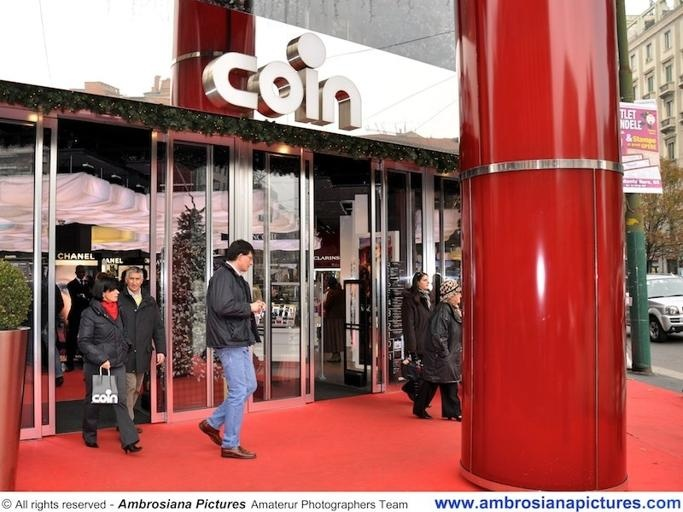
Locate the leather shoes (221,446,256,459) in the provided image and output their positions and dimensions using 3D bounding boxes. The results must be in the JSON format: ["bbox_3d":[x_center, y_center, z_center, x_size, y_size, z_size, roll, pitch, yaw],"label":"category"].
[{"bbox_3d":[-1.136,2.157,6.643,0.316,0.150,0.151,-2,-5,0],"label":"leather shoes"}]

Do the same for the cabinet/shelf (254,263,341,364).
[{"bbox_3d":[-0.781,1.220,12.874,1.051,2.253,1.482,0,0,6],"label":"cabinet/shelf"}]

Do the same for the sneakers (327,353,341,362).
[{"bbox_3d":[-0.149,2.282,13.621,0.266,0.307,0.186,0,6,-3],"label":"sneakers"}]

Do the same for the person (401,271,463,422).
[{"bbox_3d":[1.316,1.293,8.279,0.739,1.902,0.528,-4,-4,25],"label":"person"}]

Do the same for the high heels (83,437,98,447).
[{"bbox_3d":[-2.918,2.143,7.064,0.209,0.103,0.078,2,0,37],"label":"high heels"}]

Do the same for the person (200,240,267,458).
[{"bbox_3d":[-1.166,1.019,6.659,0.588,2.381,0.358,-1,-3,-16],"label":"person"}]

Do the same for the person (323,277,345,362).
[{"bbox_3d":[-0.170,1.197,12.430,0.432,1.534,0.361,-2,-3,-3],"label":"person"}]

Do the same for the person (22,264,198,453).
[{"bbox_3d":[-2.605,1.187,7.128,0.862,2.079,1.061,-2,-3,-2],"label":"person"}]

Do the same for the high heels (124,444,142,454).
[{"bbox_3d":[-2.340,2.149,6.812,0.193,0.123,0.204,-2,-3,-22],"label":"high heels"}]

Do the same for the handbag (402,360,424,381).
[{"bbox_3d":[1.009,1.607,8.621,0.260,0.296,0.262,3,-11,-16],"label":"handbag"}]

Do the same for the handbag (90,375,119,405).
[{"bbox_3d":[-2.561,1.448,6.580,0.292,0.349,0.113,1,-13,-12],"label":"handbag"}]

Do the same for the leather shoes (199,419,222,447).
[{"bbox_3d":[-1.510,2.047,7.021,0.131,0.339,0.114,-25,33,8],"label":"leather shoes"}]
